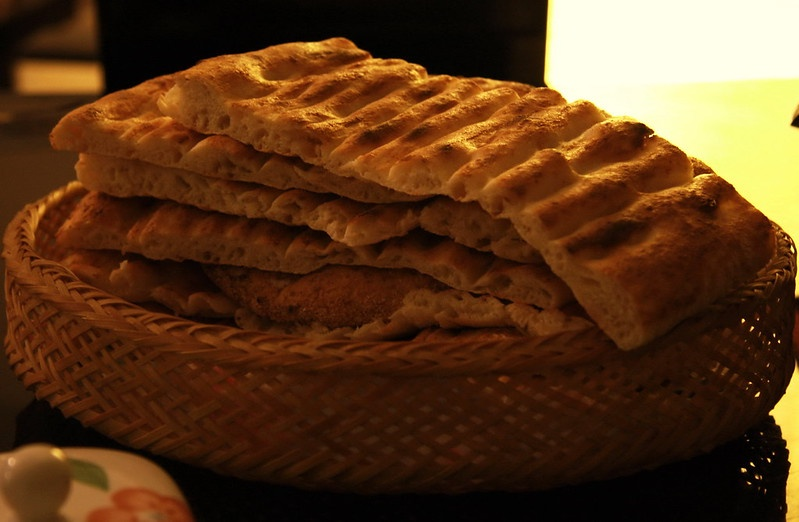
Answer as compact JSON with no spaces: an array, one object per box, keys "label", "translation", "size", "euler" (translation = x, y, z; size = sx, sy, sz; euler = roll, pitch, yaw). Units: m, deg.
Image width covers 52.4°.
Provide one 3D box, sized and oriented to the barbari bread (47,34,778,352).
[{"label":"barbari bread","translation":[0.008,-0.103,1.105],"size":[0.824,0.229,0.462],"euler":[11,20,25]}]
